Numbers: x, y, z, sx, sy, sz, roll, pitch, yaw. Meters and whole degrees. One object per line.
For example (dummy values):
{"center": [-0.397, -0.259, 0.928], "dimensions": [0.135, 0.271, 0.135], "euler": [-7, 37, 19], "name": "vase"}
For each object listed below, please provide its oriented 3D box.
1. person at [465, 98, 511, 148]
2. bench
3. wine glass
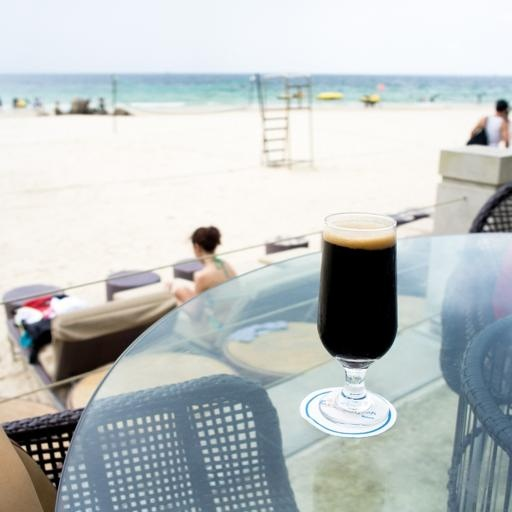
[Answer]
{"center": [3.023, -1.667, 6.337], "dimensions": [0.433, 0.602, 0.987], "euler": [4, 20, 24], "name": "person"}
{"center": [-0.630, 0.469, 2.522], "dimensions": [0.634, 0.448, 0.387], "euler": [-14, -2, 0], "name": "bench"}
{"center": [0.104, 0.065, 0.509], "dimensions": [0.079, 0.212, 0.117], "euler": [0, 19, 14], "name": "wine glass"}
